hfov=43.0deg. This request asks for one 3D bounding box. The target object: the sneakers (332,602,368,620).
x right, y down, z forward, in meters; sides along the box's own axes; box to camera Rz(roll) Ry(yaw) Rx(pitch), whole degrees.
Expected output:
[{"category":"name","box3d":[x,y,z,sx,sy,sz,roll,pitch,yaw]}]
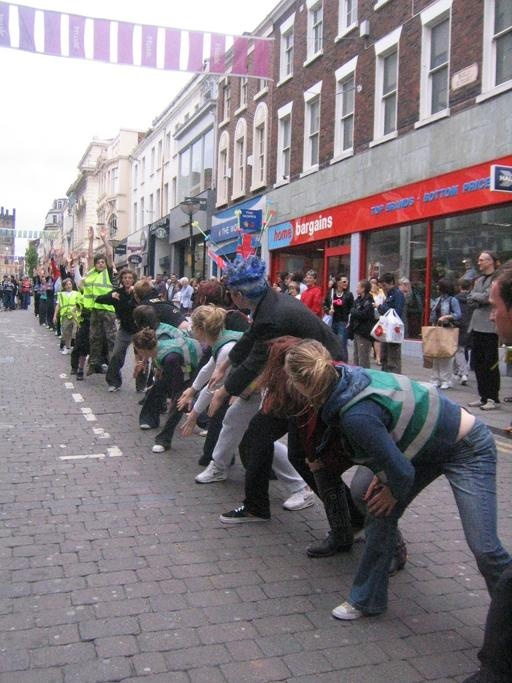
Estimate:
[{"category":"sneakers","box3d":[0.401,1.169,2.825,0.161,0.062,0.056,6,2,-7]}]

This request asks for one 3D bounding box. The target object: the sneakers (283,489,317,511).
[{"category":"sneakers","box3d":[0.309,1.116,4.576,0.261,0.110,0.098,0,-1,-41]}]

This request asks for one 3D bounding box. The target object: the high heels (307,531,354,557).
[{"category":"high heels","box3d":[0.422,1.150,3.692,0.310,0.133,0.108,-2,3,-16]}]

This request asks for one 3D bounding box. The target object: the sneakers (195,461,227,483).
[{"category":"sneakers","box3d":[-0.353,1.053,5.185,0.298,0.134,0.115,2,-1,-35]}]

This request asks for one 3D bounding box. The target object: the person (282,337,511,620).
[{"category":"person","box3d":[0.568,0.617,2.718,0.951,1.212,0.650,4,4,20]}]

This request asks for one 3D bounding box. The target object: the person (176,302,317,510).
[{"category":"person","box3d":[-0.142,0.410,5.103,1.109,1.333,0.645,-7,-12,-8]}]

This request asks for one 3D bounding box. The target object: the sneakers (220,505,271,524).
[{"category":"sneakers","box3d":[-0.078,1.120,4.202,0.328,0.115,0.115,6,-9,-9]}]

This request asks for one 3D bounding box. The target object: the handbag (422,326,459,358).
[{"category":"handbag","box3d":[2.808,0.005,9.861,0.513,0.602,0.225,4,4,21]}]

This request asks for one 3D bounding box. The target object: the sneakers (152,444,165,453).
[{"category":"sneakers","box3d":[-0.919,1.007,6.097,0.121,0.072,0.095,2,3,-11]}]

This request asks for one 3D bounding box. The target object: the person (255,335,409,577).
[{"category":"person","box3d":[0.348,0.606,3.277,0.742,1.146,0.459,8,18,25]}]
